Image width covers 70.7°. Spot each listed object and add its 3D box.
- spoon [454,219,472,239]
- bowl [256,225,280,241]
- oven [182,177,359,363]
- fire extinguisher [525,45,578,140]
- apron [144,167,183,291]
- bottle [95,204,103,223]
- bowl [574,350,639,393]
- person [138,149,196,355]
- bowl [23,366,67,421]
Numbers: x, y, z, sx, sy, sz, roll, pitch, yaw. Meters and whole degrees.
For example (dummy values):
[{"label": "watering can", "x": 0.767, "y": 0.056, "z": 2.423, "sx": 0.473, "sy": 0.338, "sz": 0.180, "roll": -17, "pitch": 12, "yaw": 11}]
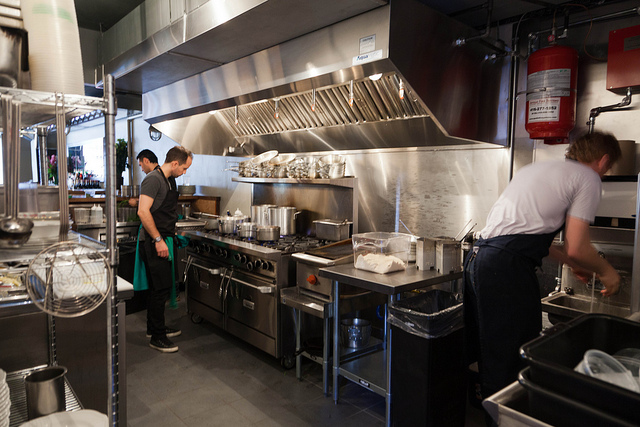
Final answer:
[{"label": "spoon", "x": 1.203, "y": 0.130, "z": 3.772, "sx": 0.211, "sy": 0.030, "sz": 0.032, "roll": -46, "pitch": 8, "yaw": 5}, {"label": "bowl", "x": -0.513, "y": 0.195, "z": 4.397, "sx": 0.159, "sy": 0.093, "sz": 0.157, "roll": 0, "pitch": 3, "yaw": 0}, {"label": "oven", "x": -0.651, "y": 0.471, "z": 4.678, "sx": 1.081, "sy": 1.504, "sz": 1.618, "roll": -7, "pitch": 11, "yaw": -44}, {"label": "fire extinguisher", "x": 1.670, "y": -0.822, "z": 3.279, "sx": 0.307, "sy": 0.697, "sz": 0.304, "roll": 9, "pitch": 12, "yaw": 34}, {"label": "apron", "x": -1.558, "y": 0.155, "z": 4.424, "sx": 0.283, "sy": 1.197, "sz": 0.540, "roll": -1, "pitch": 12, "yaw": -7}, {"label": "bottle", "x": -2.652, "y": 0.015, "z": 5.407, "sx": 0.083, "sy": 0.203, "sz": 0.130, "roll": 2, "pitch": 12, "yaw": 7}, {"label": "bowl", "x": 1.072, "y": 0.585, "z": 1.685, "sx": 0.145, "sy": 0.059, "sz": 0.143, "roll": 2, "pitch": 7, "yaw": 0}, {"label": "person", "x": -1.511, "y": 0.343, "z": 4.338, "sx": 0.522, "sy": 1.865, "sz": 0.746, "roll": -2, "pitch": 12, "yaw": -12}, {"label": "bowl", "x": -1.438, "y": 0.964, "z": 2.365, "sx": 0.197, "sy": 0.232, "sz": 0.273, "roll": -7, "pitch": 14, "yaw": -34}]
